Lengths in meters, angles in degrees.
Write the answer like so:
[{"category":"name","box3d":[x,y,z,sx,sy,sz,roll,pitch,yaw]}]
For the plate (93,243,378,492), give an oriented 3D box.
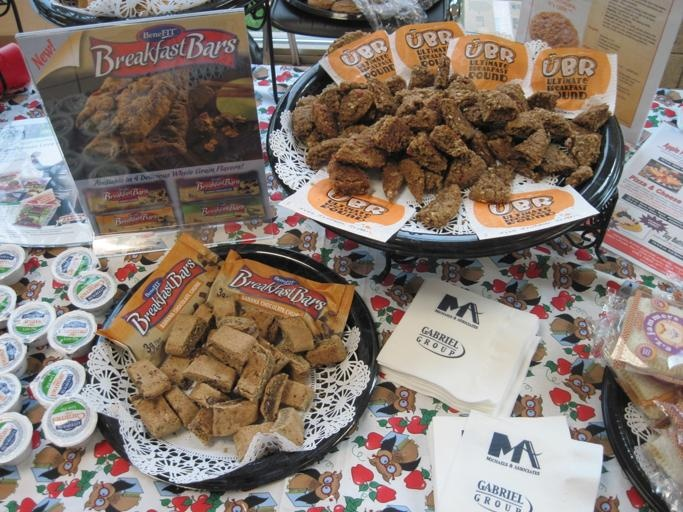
[{"category":"plate","box3d":[-0.315,0.362,1.700,0.802,0.168,0.894,34,57,25]}]
